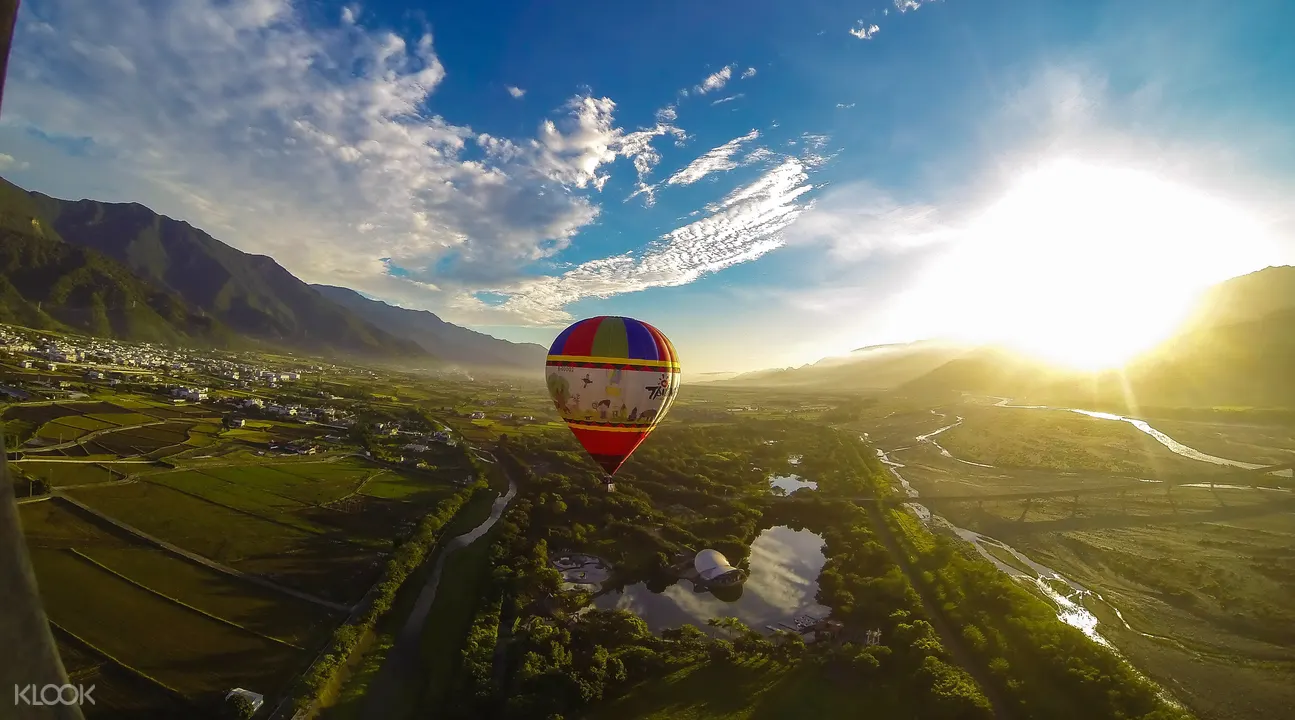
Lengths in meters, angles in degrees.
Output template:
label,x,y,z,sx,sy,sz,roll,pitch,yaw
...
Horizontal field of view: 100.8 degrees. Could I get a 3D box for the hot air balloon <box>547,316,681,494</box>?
label,x,y,z,sx,sy,sz,roll,pitch,yaw
hot air balloon,-0.265,2.434,48.737,13.868,15.516,13.278,1,-1,-35
